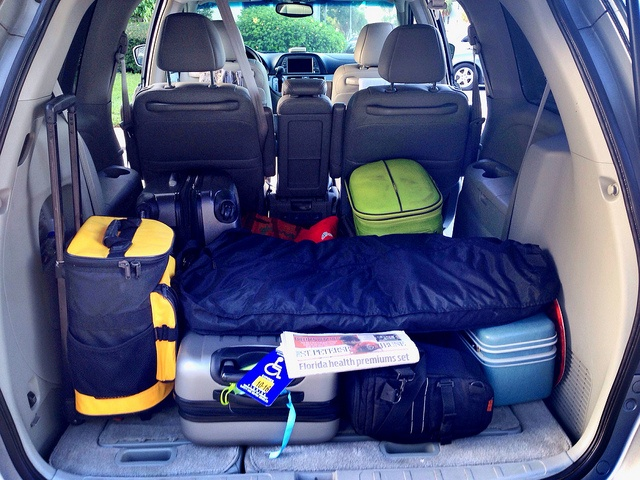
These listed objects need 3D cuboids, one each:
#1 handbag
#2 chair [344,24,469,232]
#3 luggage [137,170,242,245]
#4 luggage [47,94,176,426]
[{"bbox_3d":[0.349,0.521,1.880,0.324,0.373,0.195,0,-5,-7],"label":"handbag"},{"bbox_3d":[0.503,-0.700,3.074,0.667,1.277,0.516,0,52,9],"label":"chair"},{"bbox_3d":[-0.593,-0.158,2.578,0.386,0.353,0.377,2,-11,-2],"label":"luggage"},{"bbox_3d":[-0.712,0.070,1.934,0.412,1.096,0.436,-6,21,-5],"label":"luggage"}]
